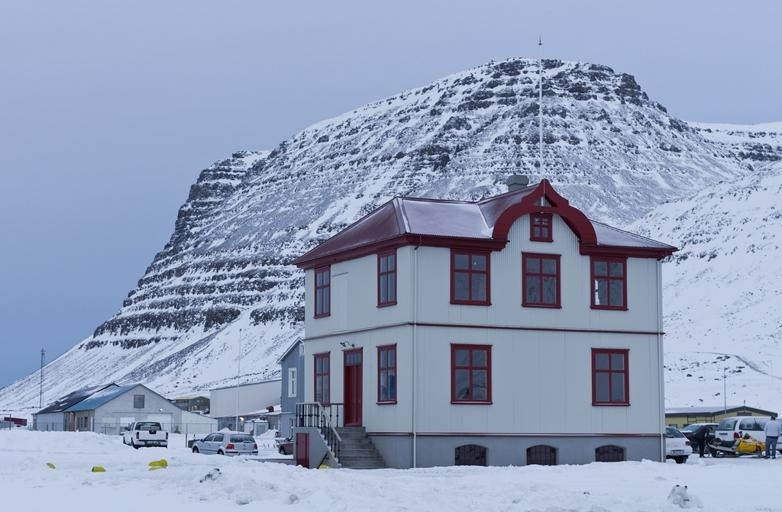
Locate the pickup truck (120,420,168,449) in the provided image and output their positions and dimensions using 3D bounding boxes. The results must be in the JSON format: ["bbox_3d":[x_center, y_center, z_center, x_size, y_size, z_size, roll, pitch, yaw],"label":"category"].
[{"bbox_3d":[-22.550,16.267,144.368,3.684,2.549,3.440,4,-14,-15],"label":"pickup truck"}]

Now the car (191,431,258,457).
[{"bbox_3d":[-14.607,16.154,136.618,4.486,1.430,2.469,0,-4,45],"label":"car"}]

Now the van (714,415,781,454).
[{"bbox_3d":[29.430,14.699,129.837,5.067,2.167,2.917,-1,-2,-5],"label":"van"}]
